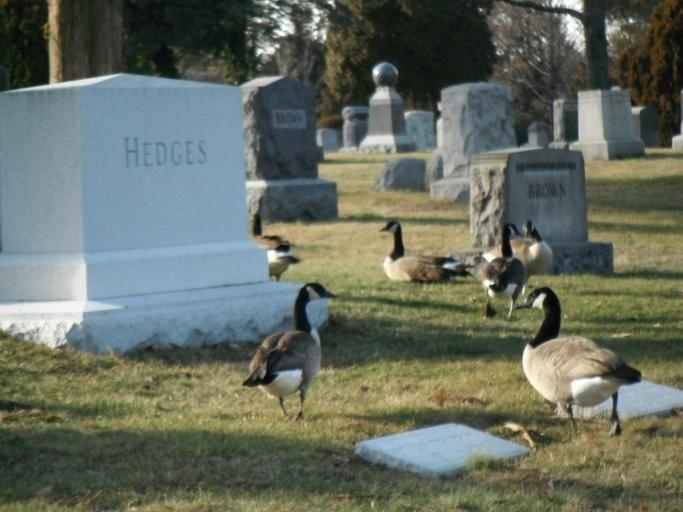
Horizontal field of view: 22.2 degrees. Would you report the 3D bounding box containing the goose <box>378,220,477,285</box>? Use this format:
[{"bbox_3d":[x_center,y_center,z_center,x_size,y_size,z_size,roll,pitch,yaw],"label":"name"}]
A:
[{"bbox_3d":[2.074,-0.135,41.647,2.474,2.274,1.050,2,-6,9],"label":"goose"}]

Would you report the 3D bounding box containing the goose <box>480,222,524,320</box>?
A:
[{"bbox_3d":[3.867,0.350,40.720,0.714,2.256,2.467,-1,6,12],"label":"goose"}]

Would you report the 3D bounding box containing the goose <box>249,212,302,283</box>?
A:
[{"bbox_3d":[-1.520,0.070,41.271,0.988,1.153,1.238,-4,15,-11],"label":"goose"}]

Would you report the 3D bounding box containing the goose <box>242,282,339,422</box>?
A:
[{"bbox_3d":[-1.118,2.078,37.612,1.062,2.560,2.184,8,17,34],"label":"goose"}]

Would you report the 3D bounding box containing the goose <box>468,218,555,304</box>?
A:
[{"bbox_3d":[4.470,-0.218,41.914,1.213,2.268,1.674,5,10,26],"label":"goose"}]
